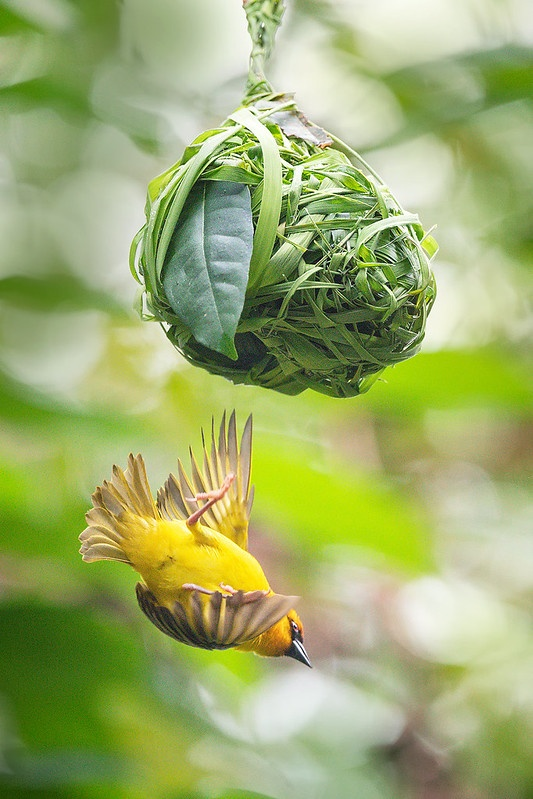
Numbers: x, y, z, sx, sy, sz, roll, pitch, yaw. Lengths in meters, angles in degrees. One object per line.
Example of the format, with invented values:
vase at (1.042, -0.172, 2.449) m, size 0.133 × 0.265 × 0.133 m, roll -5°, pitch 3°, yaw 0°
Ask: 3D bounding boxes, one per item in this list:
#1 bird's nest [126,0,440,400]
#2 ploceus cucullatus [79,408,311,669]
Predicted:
bird's nest at (0.017, -0.127, 0.659) m, size 0.267 × 0.328 × 0.221 m, roll -1°, pitch -9°, yaw -14°
ploceus cucullatus at (-0.033, 0.113, 0.718) m, size 0.192 × 0.193 × 0.145 m, roll 14°, pitch 24°, yaw 31°
